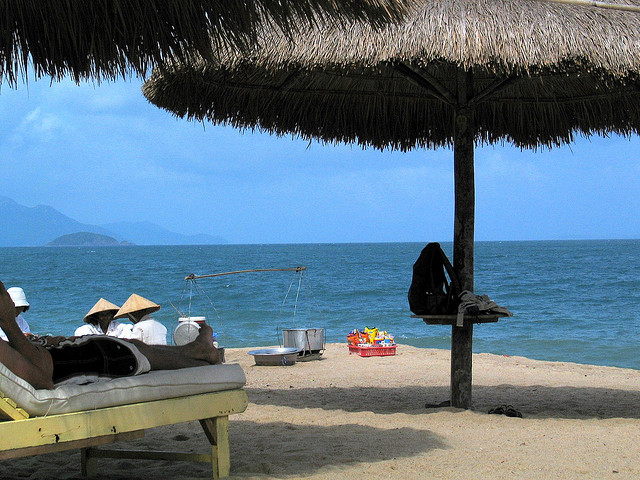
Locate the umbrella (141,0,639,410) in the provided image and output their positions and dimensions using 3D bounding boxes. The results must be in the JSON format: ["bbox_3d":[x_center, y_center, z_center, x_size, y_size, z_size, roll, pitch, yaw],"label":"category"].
[{"bbox_3d":[1.232,-0.389,10.062,5.015,4.345,2.654,-1,6,3],"label":"umbrella"}]

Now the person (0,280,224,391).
[{"bbox_3d":[-1.708,0.828,7.254,1.834,0.861,0.775,-2,4,-15],"label":"person"}]

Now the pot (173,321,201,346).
[{"bbox_3d":[-1.197,0.847,8.229,0.199,0.237,0.216,-2,-2,0],"label":"pot"}]

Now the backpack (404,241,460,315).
[{"bbox_3d":[1.232,0.451,9.537,0.437,0.912,0.641,1,-2,4],"label":"backpack"}]

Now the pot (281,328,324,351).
[{"bbox_3d":[-0.255,1.754,15.764,0.390,0.329,0.514,-5,-10,42],"label":"pot"}]

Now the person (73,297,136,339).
[{"bbox_3d":[-2.622,0.935,10.975,0.595,0.412,0.813,-18,-4,38],"label":"person"}]
